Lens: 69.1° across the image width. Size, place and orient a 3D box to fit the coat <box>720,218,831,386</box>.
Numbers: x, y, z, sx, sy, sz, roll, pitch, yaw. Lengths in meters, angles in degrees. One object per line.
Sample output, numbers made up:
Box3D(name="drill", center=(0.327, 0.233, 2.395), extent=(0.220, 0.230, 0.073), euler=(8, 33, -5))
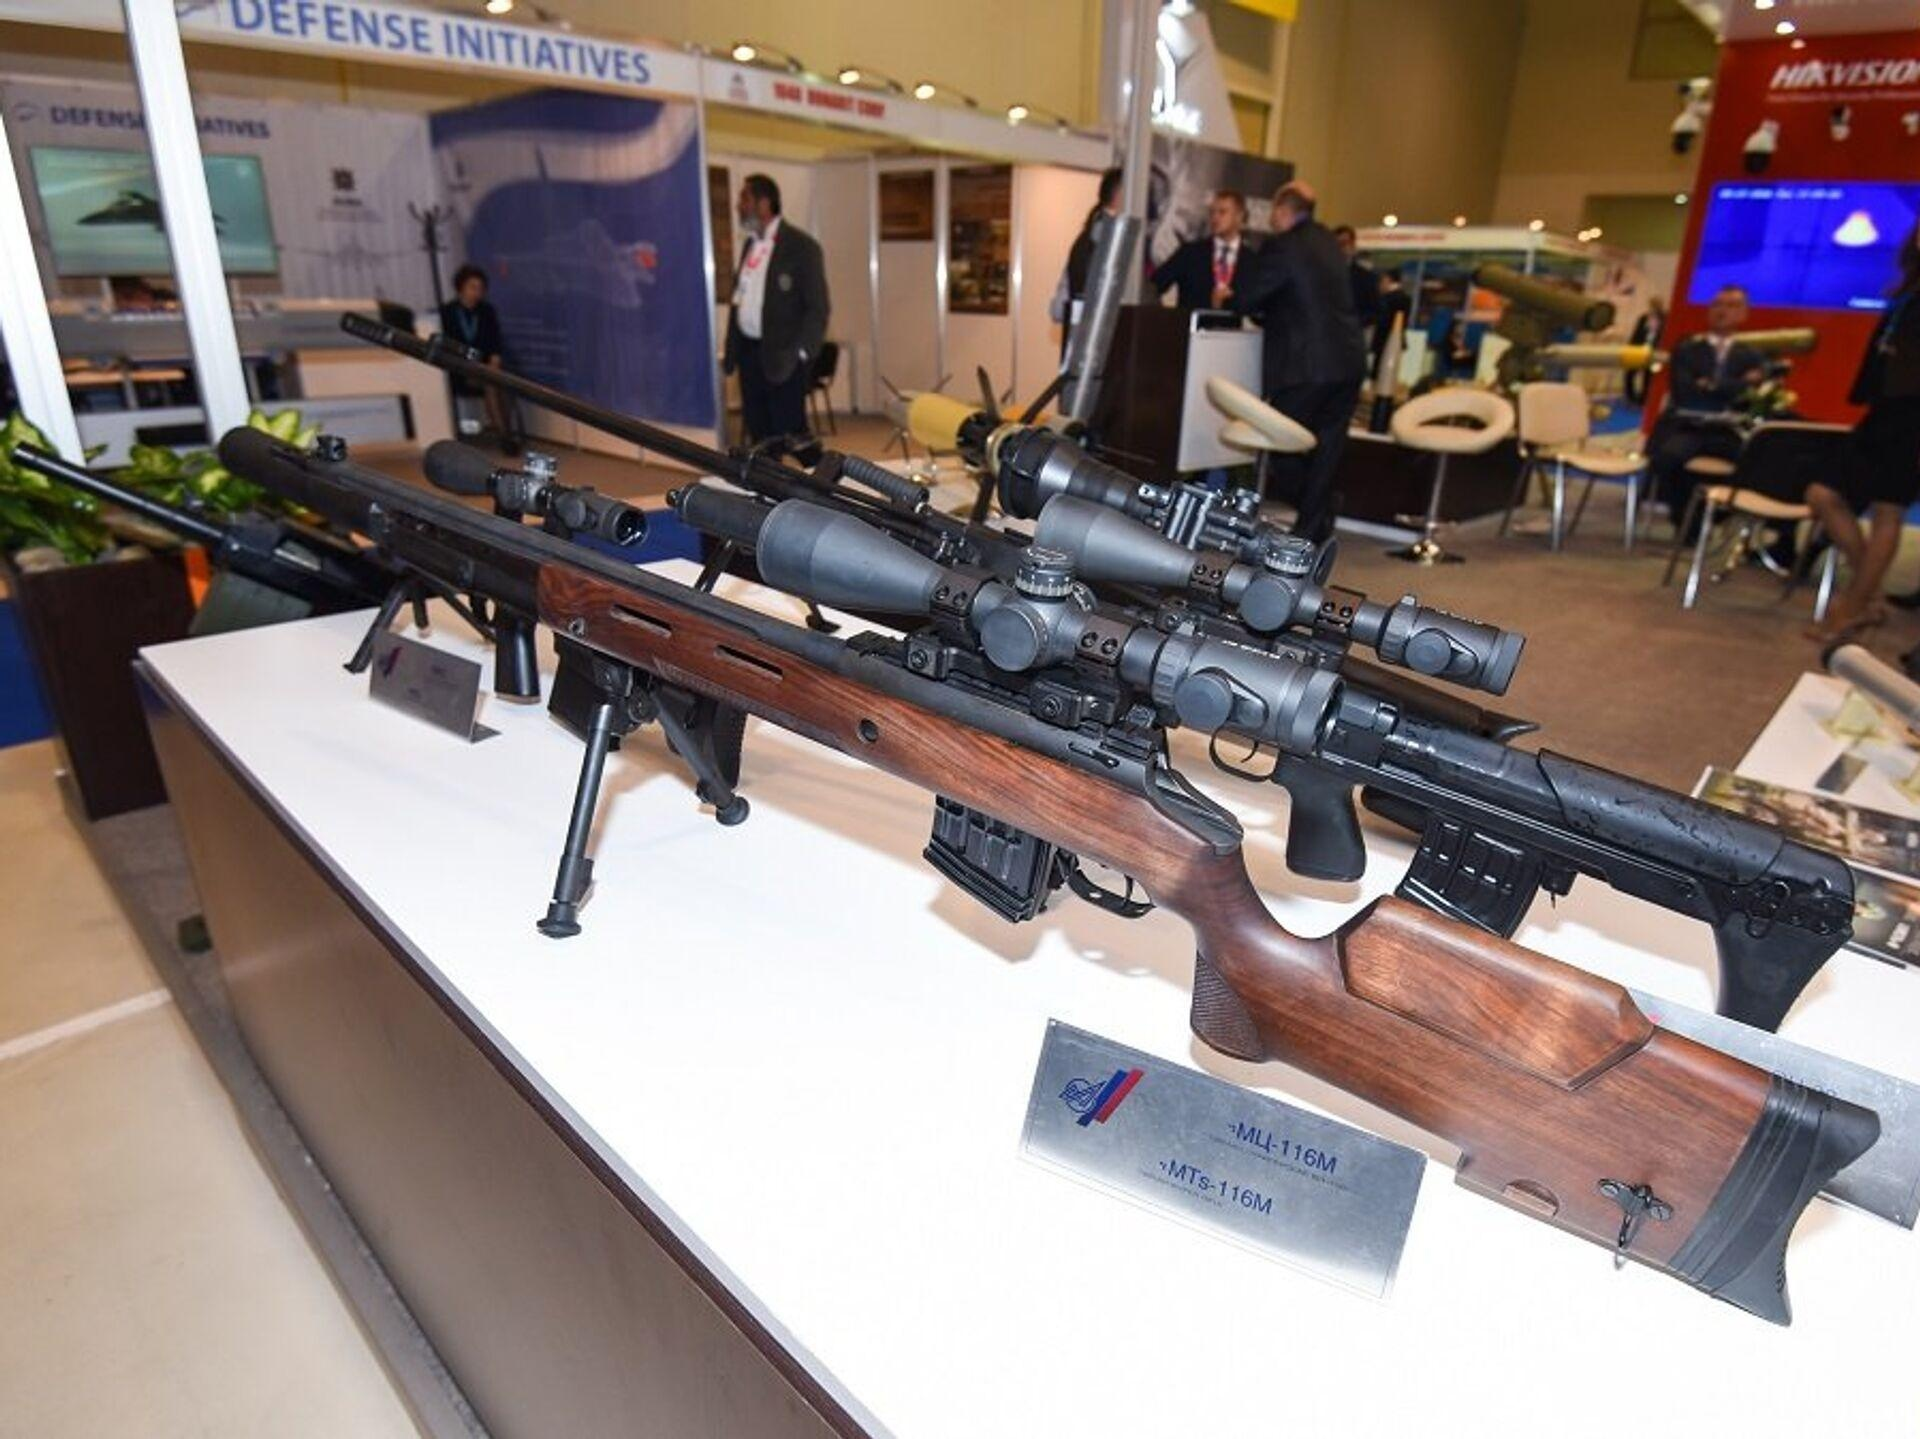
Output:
Box3D(name="coat", center=(-0.677, -1.532, 5.112), extent=(0.257, 0.518, 0.468), euler=(-28, 56, -38))

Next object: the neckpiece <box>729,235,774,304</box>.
Box3D(name="neckpiece", center=(-0.731, -1.611, 5.002), extent=(0.048, 0.273, 0.252), euler=(-16, 31, -31))

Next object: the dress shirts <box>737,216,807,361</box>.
Box3D(name="dress shirts", center=(-0.707, -1.590, 5.036), extent=(0.134, 0.491, 0.131), euler=(-5, 70, -14))

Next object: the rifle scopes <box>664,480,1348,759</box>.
Box3D(name="rifle scopes", center=(-0.095, -0.174, 2.329), extent=(1.363, 0.288, 0.333), euler=(19, 25, 18))
